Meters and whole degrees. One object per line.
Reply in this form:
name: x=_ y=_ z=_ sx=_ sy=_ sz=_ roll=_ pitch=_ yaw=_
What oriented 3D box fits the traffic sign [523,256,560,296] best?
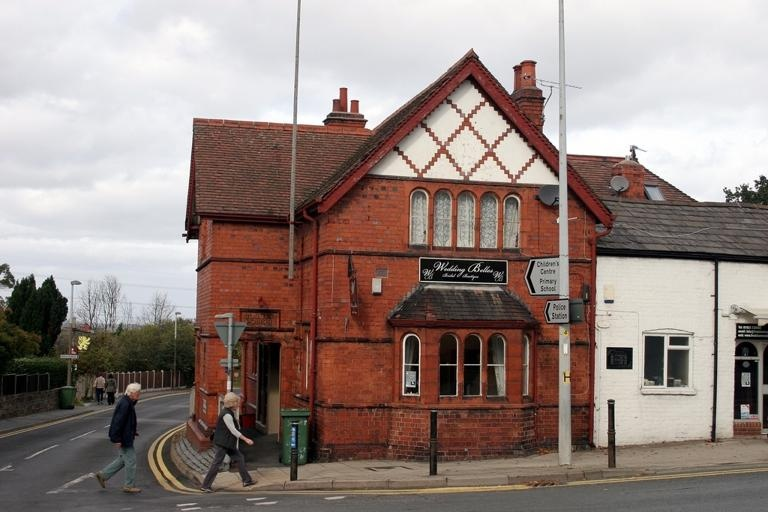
traffic sign: x=4.995 y=0.621 z=31.115 sx=1.241 sy=1.121 sz=0.143 roll=1 pitch=2 yaw=30

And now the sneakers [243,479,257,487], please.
sneakers: x=-4.018 y=6.645 z=28.902 sx=0.424 sy=0.196 sz=0.144 roll=-6 pitch=4 yaw=-18

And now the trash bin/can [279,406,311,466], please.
trash bin/can: x=-2.900 y=5.755 z=31.487 sx=0.927 sy=1.734 sz=1.576 roll=1 pitch=-8 yaw=-5

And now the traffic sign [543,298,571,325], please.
traffic sign: x=5.370 y=1.705 z=30.484 sx=0.873 sy=0.815 sz=0.297 roll=-1 pitch=-3 yaw=30

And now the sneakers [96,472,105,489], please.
sneakers: x=-8.387 y=6.567 z=28.901 sx=0.209 sy=0.597 sz=0.249 roll=-7 pitch=3 yaw=-7

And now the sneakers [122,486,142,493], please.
sneakers: x=-7.379 y=6.753 z=28.563 sx=0.509 sy=0.258 sz=0.192 roll=0 pitch=-1 yaw=-8

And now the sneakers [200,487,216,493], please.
sneakers: x=-5.216 y=6.826 z=28.772 sx=0.423 sy=0.200 sz=0.146 roll=6 pitch=-6 yaw=-3
